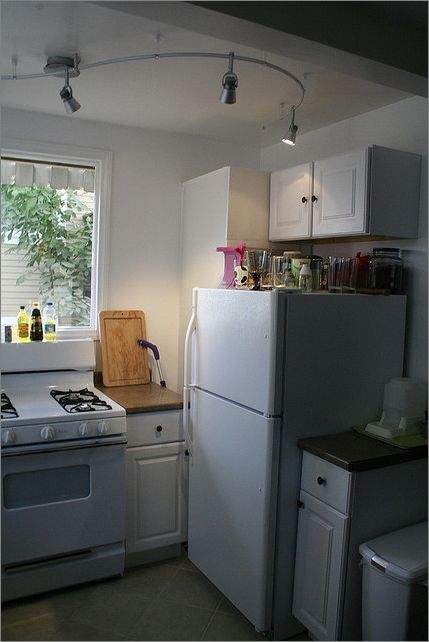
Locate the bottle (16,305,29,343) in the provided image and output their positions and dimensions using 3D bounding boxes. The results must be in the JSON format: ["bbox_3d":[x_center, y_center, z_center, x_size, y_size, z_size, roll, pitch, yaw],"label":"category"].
[{"bbox_3d":[-1.029,0.010,2.722,0.055,0.188,0.103,1,2,-23],"label":"bottle"}]

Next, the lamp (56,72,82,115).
[{"bbox_3d":[-0.596,-0.934,2.038,0.054,0.148,0.042,-1,41,-4],"label":"lamp"}]

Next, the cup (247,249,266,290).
[{"bbox_3d":[0.188,-0.234,2.266,0.098,0.165,0.099,0,4,0],"label":"cup"}]

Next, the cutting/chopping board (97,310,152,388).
[{"bbox_3d":[-0.540,0.158,3.050,0.294,0.446,0.123,1,2,-33],"label":"cutting/chopping board"}]

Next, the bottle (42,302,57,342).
[{"bbox_3d":[-0.924,-0.001,2.841,0.062,0.201,0.166,2,2,-17],"label":"bottle"}]

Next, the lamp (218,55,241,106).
[{"bbox_3d":[0.057,-0.884,1.837,0.067,0.157,0.065,-1,37,-10],"label":"lamp"}]

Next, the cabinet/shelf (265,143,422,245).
[{"bbox_3d":[0.615,-0.594,2.438,0.312,0.397,0.651,0,3,-45],"label":"cabinet/shelf"}]

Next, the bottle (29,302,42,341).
[{"bbox_3d":[-0.972,0.002,2.766,0.068,0.202,0.147,1,2,-20],"label":"bottle"}]
